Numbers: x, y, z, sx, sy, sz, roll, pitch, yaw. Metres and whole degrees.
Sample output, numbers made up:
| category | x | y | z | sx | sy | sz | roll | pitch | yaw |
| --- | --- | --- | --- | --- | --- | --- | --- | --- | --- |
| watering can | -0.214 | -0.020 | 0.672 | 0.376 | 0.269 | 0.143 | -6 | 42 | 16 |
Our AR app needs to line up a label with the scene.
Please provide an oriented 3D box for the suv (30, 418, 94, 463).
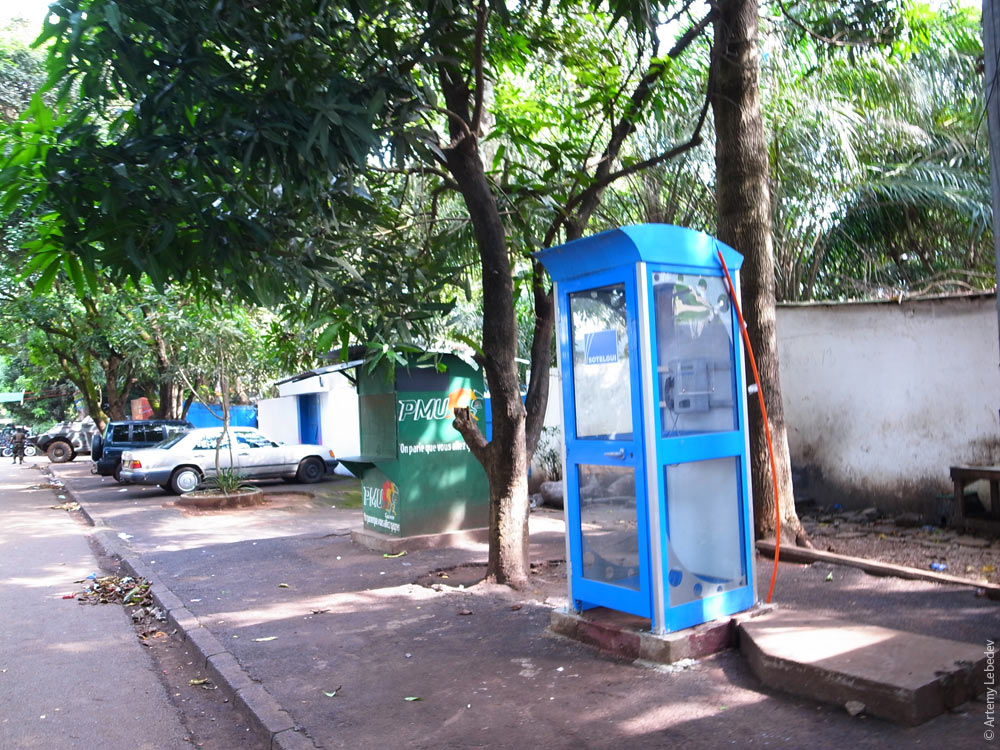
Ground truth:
| category | x | y | z | sx | sy | sz | roll | pitch | yaw |
| --- | --- | --- | --- | --- | --- | --- | --- | --- | --- |
| suv | -22.269 | 3.385 | 39.450 | 3.672 | 1.907 | 2.267 | 2 | -5 | -36 |

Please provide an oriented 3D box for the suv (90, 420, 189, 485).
| category | x | y | z | sx | sy | sz | roll | pitch | yaw |
| --- | --- | --- | --- | --- | --- | --- | --- | --- | --- |
| suv | -11.588 | 2.099 | 24.519 | 3.492 | 1.955 | 2.020 | -5 | 1 | -22 |

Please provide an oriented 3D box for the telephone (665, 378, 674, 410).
| category | x | y | z | sx | sy | sz | roll | pitch | yaw |
| --- | --- | --- | --- | --- | --- | --- | --- | --- | --- |
| telephone | 1.507 | 0.161 | 6.875 | 0.064 | 0.233 | 0.155 | 4 | 4 | 15 |

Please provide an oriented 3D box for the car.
| category | x | y | z | sx | sy | sz | roll | pitch | yaw |
| --- | --- | --- | --- | --- | --- | --- | --- | --- | --- |
| car | -7.334 | 2.341 | 21.028 | 5.218 | 1.834 | 2.587 | -5 | 1 | -33 |
